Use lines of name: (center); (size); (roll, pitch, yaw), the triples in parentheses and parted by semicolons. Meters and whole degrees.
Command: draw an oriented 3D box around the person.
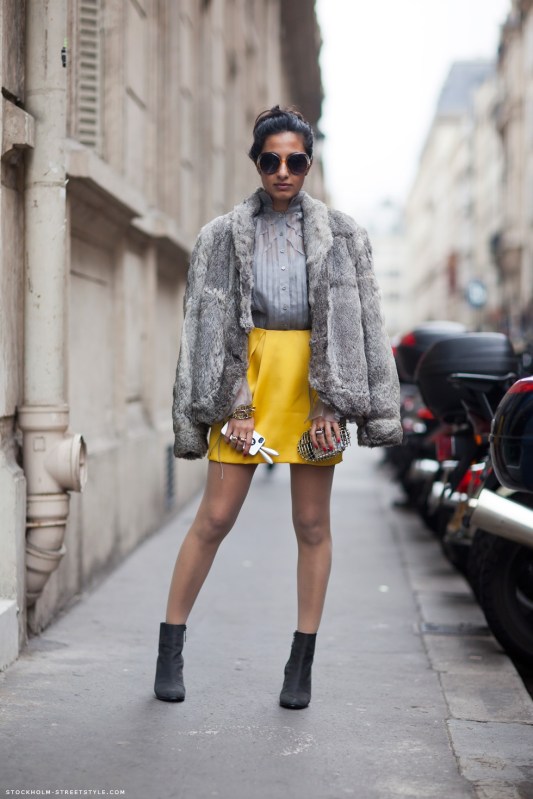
person: (0.053, 0.019, 2.856); (0.684, 1.721, 0.335); (2, 0, -4)

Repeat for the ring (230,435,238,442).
ring: (-0.088, 0.110, 2.767); (0.016, 0.016, 0.018); (5, -11, -39)

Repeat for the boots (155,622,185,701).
boots: (-0.282, 0.785, 2.925); (0.108, 0.207, 0.235); (3, 0, -3)

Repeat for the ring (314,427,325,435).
ring: (0.148, 0.089, 2.755); (0.021, 0.018, 0.010); (-1, 7, 7)

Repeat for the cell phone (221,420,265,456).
cell phone: (-0.066, 0.115, 2.786); (0.125, 0.094, 0.046); (2, 0, 2)

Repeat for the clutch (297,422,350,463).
clutch: (0.164, 0.114, 2.840); (0.133, 0.107, 0.172); (17, 12, 30)
